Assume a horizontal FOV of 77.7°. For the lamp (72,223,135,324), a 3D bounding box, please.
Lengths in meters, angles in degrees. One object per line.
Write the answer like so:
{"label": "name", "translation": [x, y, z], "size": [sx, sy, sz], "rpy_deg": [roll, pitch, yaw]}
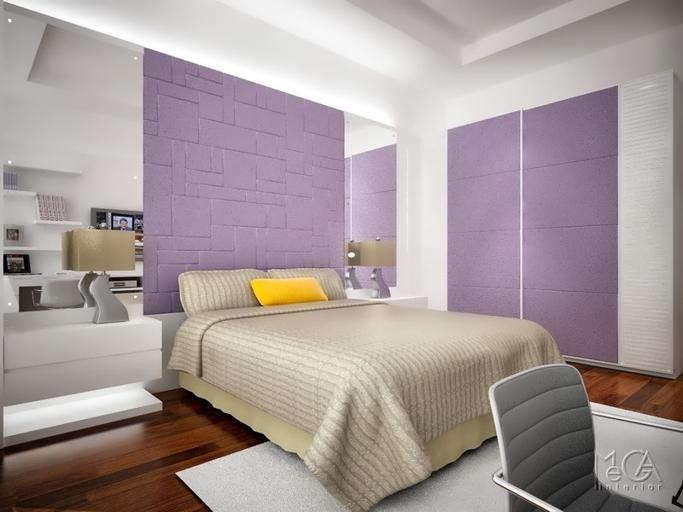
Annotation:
{"label": "lamp", "translation": [-1.852, 0.139, 3.393], "size": [0.566, 0.717, 0.592], "rpy_deg": [-5, -4, 10]}

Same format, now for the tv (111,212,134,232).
{"label": "tv", "translation": [-1.826, -0.285, 3.513], "size": [0.024, 0.133, 0.182], "rpy_deg": [-1, -2, 40]}

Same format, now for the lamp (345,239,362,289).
{"label": "lamp", "translation": [0.142, 0.104, 5.134], "size": [0.199, 0.574, 0.113], "rpy_deg": [-1, 7, -13]}

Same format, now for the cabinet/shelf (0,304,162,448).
{"label": "cabinet/shelf", "translation": [-1.959, 0.827, 3.269], "size": [1.318, 1.055, 0.705], "rpy_deg": [2, -4, -44]}

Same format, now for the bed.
{"label": "bed", "translation": [-0.105, 0.766, 2.652], "size": [1.437, 0.392, 1.415], "rpy_deg": [-1, 0, -40]}
